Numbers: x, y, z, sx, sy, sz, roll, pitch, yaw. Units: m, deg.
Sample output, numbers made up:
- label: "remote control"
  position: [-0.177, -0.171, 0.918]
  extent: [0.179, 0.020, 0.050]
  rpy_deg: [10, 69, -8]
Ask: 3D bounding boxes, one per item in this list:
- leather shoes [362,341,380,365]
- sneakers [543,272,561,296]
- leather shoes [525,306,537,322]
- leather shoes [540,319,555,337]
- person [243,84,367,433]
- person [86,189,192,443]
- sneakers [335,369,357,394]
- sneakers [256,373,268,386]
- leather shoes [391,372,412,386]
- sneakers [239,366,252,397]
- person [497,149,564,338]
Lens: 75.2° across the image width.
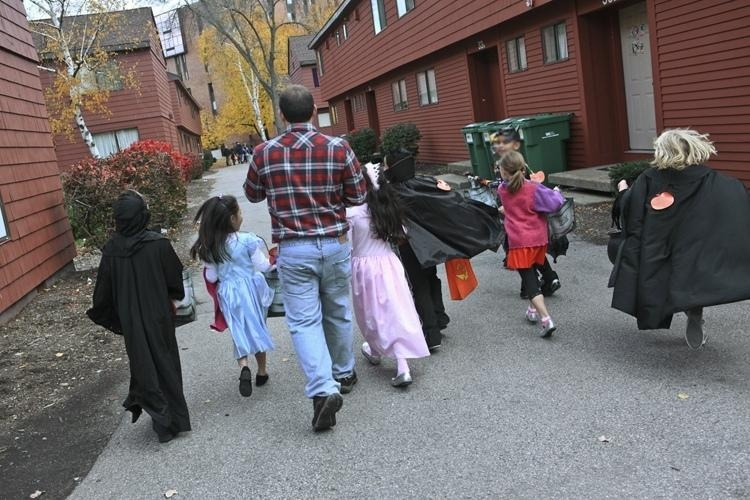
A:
- label: "leather shoes"
  position: [-0.048, 1.122, 5.187]
  extent: [0.125, 0.128, 0.310]
  rpy_deg: [-13, 33, -19]
- label: "sneakers"
  position: [2.236, 0.451, 6.260]
  extent: [0.141, 0.179, 0.408]
  rpy_deg: [-11, -10, -1]
- label: "leather shoes"
  position: [1.847, 0.762, 5.744]
  extent: [0.083, 0.107, 0.226]
  rpy_deg: [-1, 12, 2]
- label: "leather shoes"
  position: [1.863, 0.857, 5.285]
  extent: [0.101, 0.131, 0.269]
  rpy_deg: [-27, -19, -8]
- label: "person"
  position: [-0.461, 0.063, 4.123]
  extent: [0.821, 2.841, 0.807]
  rpy_deg: [-16, 17, -30]
- label: "person"
  position: [-2.030, 0.580, 4.250]
  extent: [0.707, 2.143, 0.607]
  rpy_deg: [-3, 15, 14]
- label: "sneakers"
  position: [-0.256, 1.257, 4.656]
  extent: [0.110, 0.140, 0.294]
  rpy_deg: [3, 13, 18]
- label: "sneakers"
  position: [-1.148, 1.329, 5.010]
  extent: [0.077, 0.085, 0.141]
  rpy_deg: [4, 18, 12]
- label: "leather shoes"
  position: [0.262, 1.244, 4.654]
  extent: [0.101, 0.099, 0.204]
  rpy_deg: [-3, -10, -19]
- label: "sneakers"
  position: [-1.225, 1.251, 4.658]
  extent: [0.148, 0.273, 0.132]
  rpy_deg: [-5, -10, 5]
- label: "person"
  position: [1.802, -0.106, 5.444]
  extent: [0.564, 1.964, 0.844]
  rpy_deg: [-10, 15, -9]
